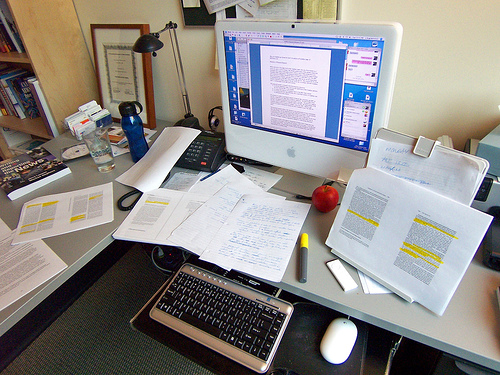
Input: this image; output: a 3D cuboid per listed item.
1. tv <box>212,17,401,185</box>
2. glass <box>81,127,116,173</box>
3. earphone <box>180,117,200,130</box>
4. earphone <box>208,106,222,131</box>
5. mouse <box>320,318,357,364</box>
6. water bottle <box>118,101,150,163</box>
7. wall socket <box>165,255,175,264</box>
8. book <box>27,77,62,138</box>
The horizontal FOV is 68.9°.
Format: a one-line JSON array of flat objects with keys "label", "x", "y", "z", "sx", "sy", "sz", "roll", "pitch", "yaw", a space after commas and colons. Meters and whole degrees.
[{"label": "tv", "x": 0.195, "y": -0.290, "z": 1.189, "sx": 0.560, "sy": 0.474, "sz": 0.196, "roll": 15, "pitch": 41, "yaw": 18}, {"label": "glass", "x": -0.624, "y": -0.160, "z": 1.556, "sx": 0.114, "sy": 0.187, "sz": 0.123, "roll": -19, "pitch": 37, "yaw": -30}, {"label": "earphone", "x": -0.285, "y": -0.306, "z": 1.715, "sx": 0.055, "sy": 0.023, "sz": 0.079, "roll": 11, "pitch": 32, "yaw": 8}, {"label": "earphone", "x": -0.174, "y": -0.327, "z": 1.746, "sx": 0.044, "sy": 0.116, "sz": 0.086, "roll": 6, "pitch": 8, "yaw": 0}, {"label": "mouse", "x": 0.263, "y": 0.457, "z": 1.083, "sx": 0.136, "sy": 0.099, "sz": 0.134, "roll": 6, "pitch": 26, "yaw": 15}, {"label": "water bottle", "x": -0.493, "y": -0.240, "z": 1.544, "sx": 0.098, "sy": 0.257, "sz": 0.103, "roll": -2, "pitch": 37, "yaw": 2}, {"label": "wall socket", "x": -0.378, "y": 0.337, "z": 1.701, "sx": 0.038, "sy": 0.038, "sz": 0.009, "roll": 28, "pitch": 1, "yaw": 13}, {"label": "book", "x": -1.103, "y": -0.417, "z": 1.997, "sx": 0.074, "sy": 0.315, "sz": 0.305, "roll": -23, "pitch": 39, "yaw": -7}]
